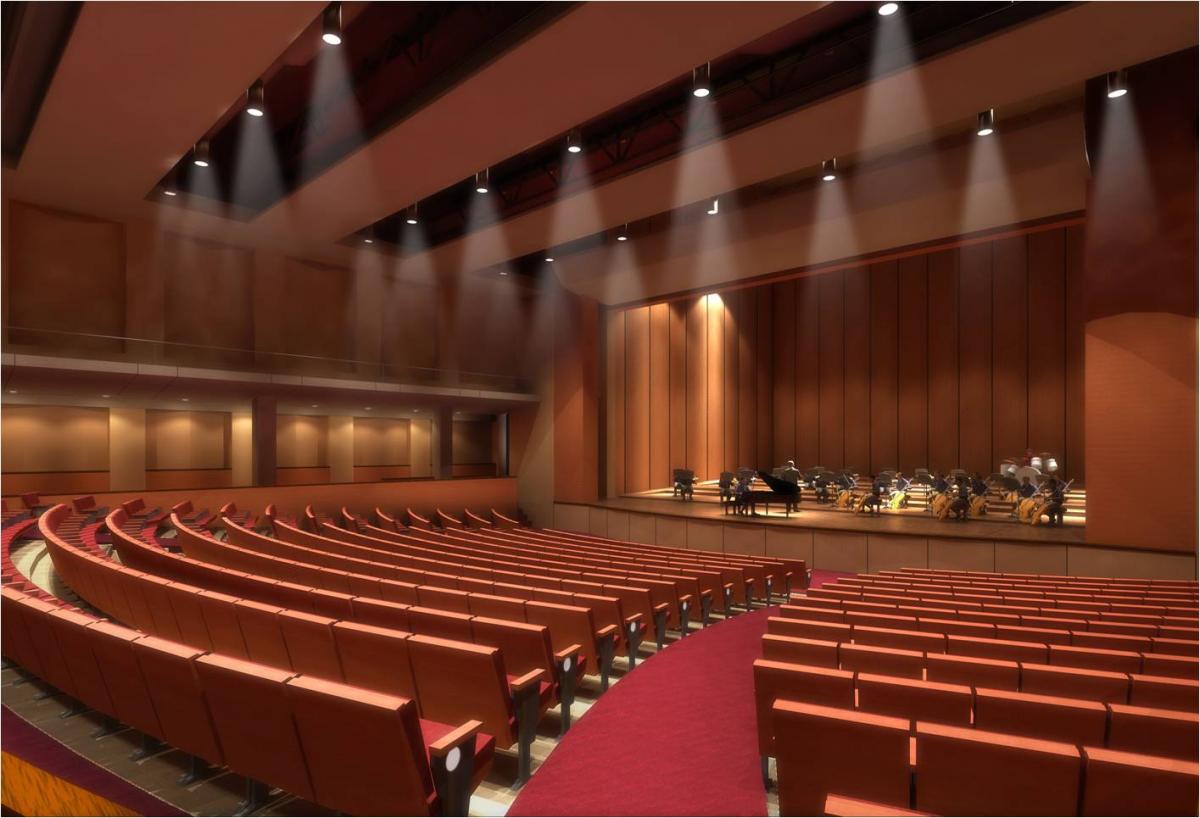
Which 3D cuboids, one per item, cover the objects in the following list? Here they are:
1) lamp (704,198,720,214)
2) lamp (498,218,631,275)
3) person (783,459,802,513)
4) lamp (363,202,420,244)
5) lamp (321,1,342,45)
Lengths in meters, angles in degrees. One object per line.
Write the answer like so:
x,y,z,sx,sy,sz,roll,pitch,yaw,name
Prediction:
2.103,-3.755,15.196,0.228,0.231,0.419,-3,-9,2,lamp
-0.839,-3.406,17.785,3.182,0.523,0.218,-13,21,38,lamp
3.981,1.584,16.905,0.301,1.222,0.514,15,-22,-37,person
-4.139,-3.626,16.456,0.796,0.216,0.890,-6,-8,28,lamp
-3.280,-4.691,9.965,0.178,0.485,0.315,2,-5,-29,lamp
